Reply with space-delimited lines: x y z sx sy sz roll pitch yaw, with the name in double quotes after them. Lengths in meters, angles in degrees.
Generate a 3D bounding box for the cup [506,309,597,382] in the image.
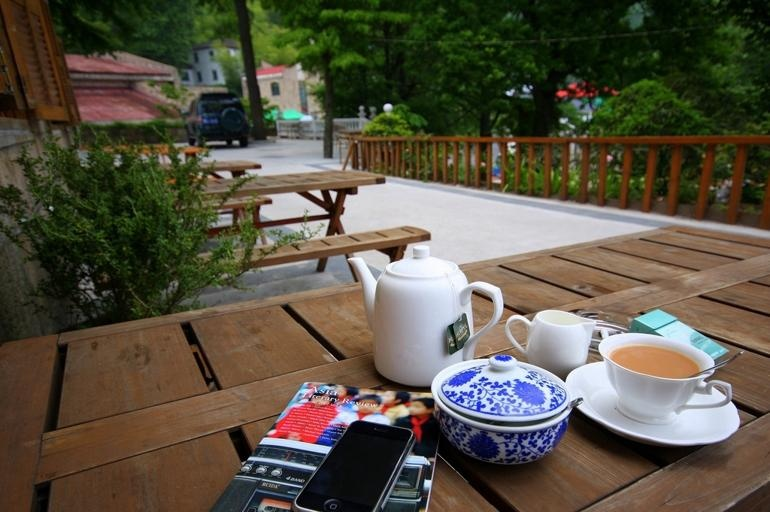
0.407 0.209 1.173 0.207 0.132 0.145 0 20 19 "cup"

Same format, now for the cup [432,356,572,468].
0.235 0.284 0.910 0.265 0.111 0.199 -9 18 -29 "cup"

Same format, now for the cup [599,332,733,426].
0.545 0.235 0.972 0.223 0.099 0.189 17 26 41 "cup"

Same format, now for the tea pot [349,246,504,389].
0.117 0.137 1.113 0.296 0.324 0.151 2 21 8 "tea pot"

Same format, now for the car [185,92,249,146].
-6.555 -5.429 18.421 1.916 2.128 2.303 -15 24 -34 "car"
